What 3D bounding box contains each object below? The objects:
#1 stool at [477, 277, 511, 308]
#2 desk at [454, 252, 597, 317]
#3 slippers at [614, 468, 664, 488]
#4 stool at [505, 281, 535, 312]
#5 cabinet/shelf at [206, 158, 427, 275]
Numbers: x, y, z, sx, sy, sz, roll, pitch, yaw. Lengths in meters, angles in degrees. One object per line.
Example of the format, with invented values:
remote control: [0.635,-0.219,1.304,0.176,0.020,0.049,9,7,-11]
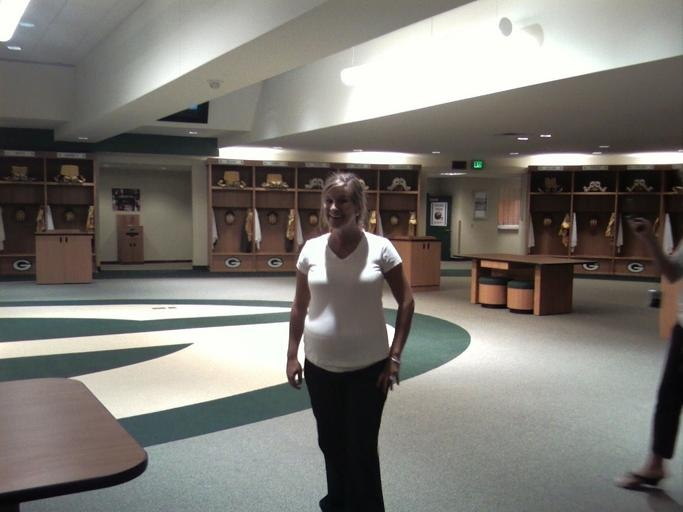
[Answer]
stool: [2.590,0.617,8.135,0.442,0.450,0.468,1,-1,12]
desk: [3.162,0.457,8.200,1.098,0.912,1.551,-2,7,-39]
slippers: [1.711,1.274,2.746,0.220,0.066,0.090,-5,-2,29]
stool: [2.879,0.658,7.834,0.415,0.429,0.421,0,2,-27]
cabinet/shelf: [-1.005,-0.930,10.060,3.026,1.838,0.428,-1,1,-12]
